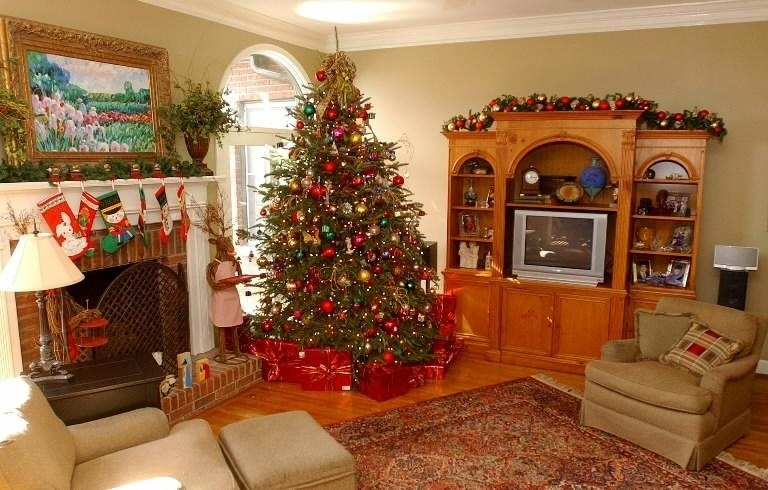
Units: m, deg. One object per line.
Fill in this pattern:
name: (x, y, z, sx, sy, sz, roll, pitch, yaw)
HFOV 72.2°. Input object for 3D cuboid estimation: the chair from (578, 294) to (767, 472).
chair: (2.632, 1.126, 5.091, 1.656, 1.299, 1.280, -5, 6, -37)

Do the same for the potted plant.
potted plant: (-2.041, -1.299, 5.604, 0.863, 0.868, 0.832, 0, 9, -26)

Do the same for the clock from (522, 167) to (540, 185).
clock: (1.750, -0.829, 6.301, 0.249, 0.285, 0.044, 1, 4, 21)

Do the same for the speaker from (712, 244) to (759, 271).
speaker: (3.807, 0.125, 5.698, 0.509, 0.325, 0.267, 4, 6, 26)

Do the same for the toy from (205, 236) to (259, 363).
toy: (-1.679, 0.562, 5.700, 0.469, 1.334, 0.463, -1, 9, -18)

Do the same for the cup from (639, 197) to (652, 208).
cup: (2.998, -0.488, 6.065, 0.132, 0.141, 0.132, 0, 2, 0)

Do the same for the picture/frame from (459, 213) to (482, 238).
picture/frame: (1.065, -0.250, 6.623, 0.337, 0.357, 0.039, 1, -7, -13)

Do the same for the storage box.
storage box: (-0.519, 0.888, 5.607, 1.414, 0.356, 1.374, 4, 7, 38)

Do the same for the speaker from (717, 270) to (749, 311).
speaker: (3.825, 0.542, 5.822, 0.309, 0.471, 0.292, 17, -26, 14)

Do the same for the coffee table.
coffee table: (-2.340, 1.346, 4.319, 0.802, 0.698, 0.478, -3, 20, -34)
